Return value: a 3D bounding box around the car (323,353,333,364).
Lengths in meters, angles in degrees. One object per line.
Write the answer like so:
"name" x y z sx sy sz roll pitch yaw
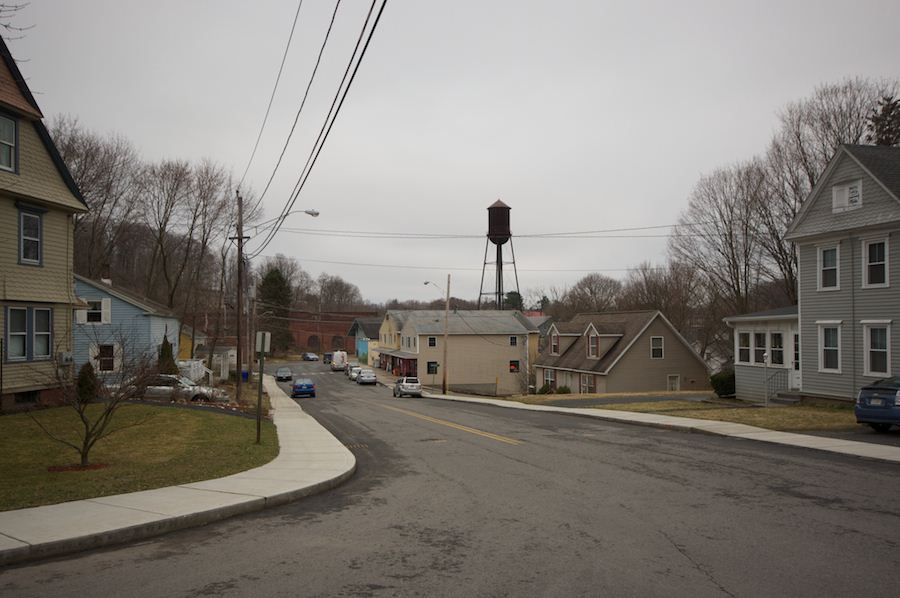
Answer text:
"car" -18.158 8.854 113.699 1.529 1.244 3.512 1 -7 -9

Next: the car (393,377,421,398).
"car" -3.218 6.693 57.699 2.022 1.266 1.419 -4 -6 32

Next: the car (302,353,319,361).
"car" -21.782 9.131 119.627 1.307 0.992 2.008 1 1 -30
